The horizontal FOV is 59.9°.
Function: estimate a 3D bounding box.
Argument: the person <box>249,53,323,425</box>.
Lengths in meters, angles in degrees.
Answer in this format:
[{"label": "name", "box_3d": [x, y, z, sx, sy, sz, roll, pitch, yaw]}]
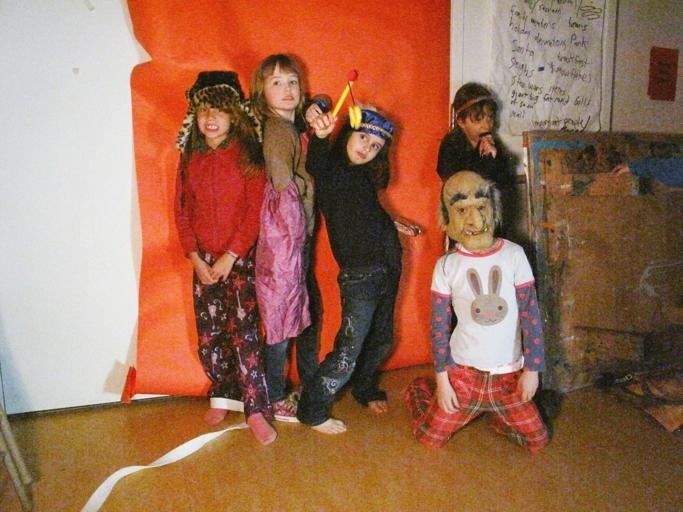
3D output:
[{"label": "person", "box_3d": [-0.287, -0.083, 3.070, 0.334, 1.851, 0.431, -5, 13, -3]}]

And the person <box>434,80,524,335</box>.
[{"label": "person", "box_3d": [0.782, -0.390, 3.526, 0.352, 1.173, 0.352, -18, 27, -21]}]

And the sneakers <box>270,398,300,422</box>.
[{"label": "sneakers", "box_3d": [-0.297, 0.819, 3.136, 0.183, 0.088, 0.070, -4, -2, 13]}]

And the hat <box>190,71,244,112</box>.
[{"label": "hat", "box_3d": [-0.638, -0.853, 3.056, 0.271, 0.198, 0.397, 7, 13, 25]}]

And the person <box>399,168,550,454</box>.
[{"label": "person", "box_3d": [0.666, 0.277, 3.115, 0.770, 1.405, 0.683, 0, 12, 23]}]
